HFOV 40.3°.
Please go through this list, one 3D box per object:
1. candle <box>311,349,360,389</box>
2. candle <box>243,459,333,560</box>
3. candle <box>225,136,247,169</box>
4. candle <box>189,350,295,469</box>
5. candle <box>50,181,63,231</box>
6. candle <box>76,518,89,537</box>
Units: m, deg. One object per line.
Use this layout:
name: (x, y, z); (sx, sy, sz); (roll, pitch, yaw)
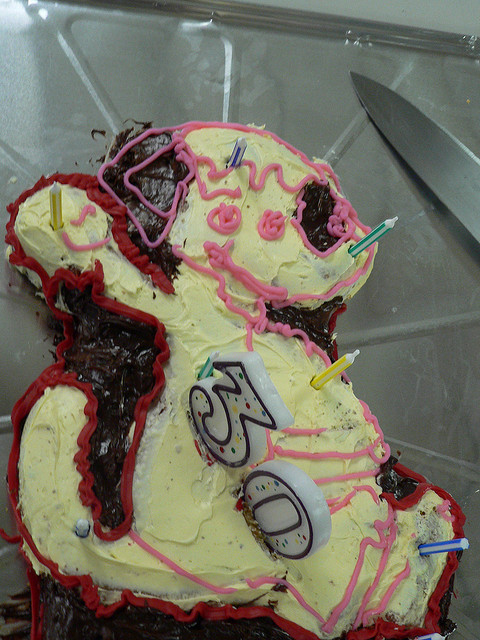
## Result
candle: (0.321, 0.170, 2.260); (0.045, 0.314, 0.042); (-30, 81, -33)
candle: (0.131, 0.545, 1.879); (0.097, 0.299, 0.274); (-16, 104, -36)
candle: (-0.015, -0.559, 2.172); (0.039, 0.127, 0.027); (15, 73, -6)
candle: (-0.011, 0.263, 1.864); (0.224, 0.475, 0.283); (-34, 77, -12)
candle: (-0.561, -0.343, 2.004); (0.036, 0.168, 0.033); (19, 61, -10)
candle: (-0.452, 0.597, 1.887); (0.035, 0.019, 0.050); (4, 72, -2)
